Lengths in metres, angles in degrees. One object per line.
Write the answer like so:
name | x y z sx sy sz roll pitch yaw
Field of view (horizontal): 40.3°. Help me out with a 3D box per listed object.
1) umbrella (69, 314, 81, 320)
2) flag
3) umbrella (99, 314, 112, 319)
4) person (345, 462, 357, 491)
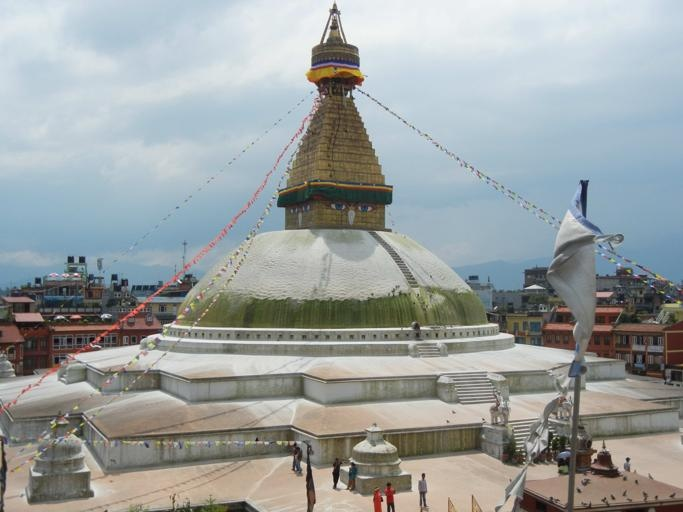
umbrella | -20.317 4.706 71.070 0.716 0.396 0.673 2 -2 -31
flag | 7.567 0.866 29.032 2.550 6.639 1.765 -1 -11 33
umbrella | -19.102 4.832 74.883 1.015 0.283 0.937 0 -2 -28
person | 0.385 8.292 35.249 0.366 1.034 0.448 -1 -3 -2
